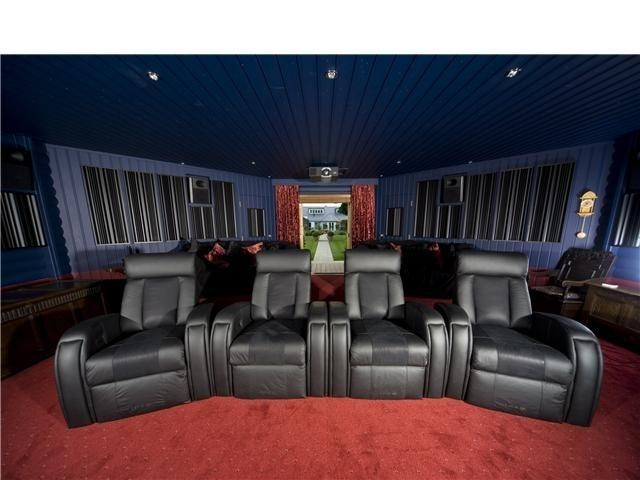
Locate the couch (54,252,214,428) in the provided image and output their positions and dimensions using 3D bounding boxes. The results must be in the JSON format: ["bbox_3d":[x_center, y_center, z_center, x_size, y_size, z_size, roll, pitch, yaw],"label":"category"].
[{"bbox_3d":[-1.604,0.881,3.433,1.568,1.433,1.650,-1,-1,-16],"label":"couch"}]

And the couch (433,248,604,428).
[{"bbox_3d":[2.091,0.918,3.415,1.451,1.554,1.784,0,-1,17],"label":"couch"}]

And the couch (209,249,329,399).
[{"bbox_3d":[-0.512,0.837,3.347,1.344,1.274,1.317,0,4,2],"label":"couch"}]

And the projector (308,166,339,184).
[{"bbox_3d":[0.041,-1.248,5.586,0.528,0.258,0.525,-2,7,-3],"label":"projector"}]

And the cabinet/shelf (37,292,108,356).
[{"bbox_3d":[-2.736,0.932,3.427,0.871,0.685,0.293,-19,-9,9],"label":"cabinet/shelf"}]

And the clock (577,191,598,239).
[{"bbox_3d":[3.930,-0.363,4.355,0.190,0.736,0.099,7,13,38],"label":"clock"}]
